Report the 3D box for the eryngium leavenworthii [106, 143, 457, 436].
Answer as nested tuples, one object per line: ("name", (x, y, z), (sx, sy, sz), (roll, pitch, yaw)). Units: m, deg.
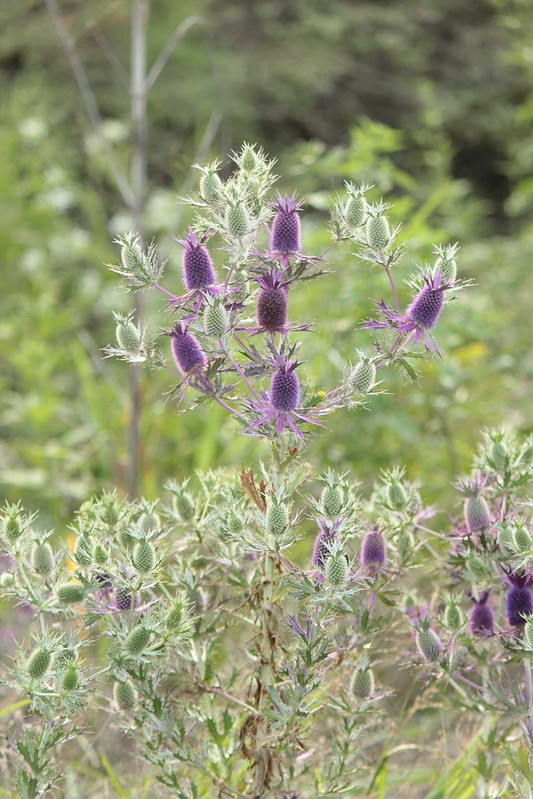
("eryngium leavenworthii", (0.026, -0.257, 1.918), (0.729, 0.509, 0.655), (2, 38, 2))
